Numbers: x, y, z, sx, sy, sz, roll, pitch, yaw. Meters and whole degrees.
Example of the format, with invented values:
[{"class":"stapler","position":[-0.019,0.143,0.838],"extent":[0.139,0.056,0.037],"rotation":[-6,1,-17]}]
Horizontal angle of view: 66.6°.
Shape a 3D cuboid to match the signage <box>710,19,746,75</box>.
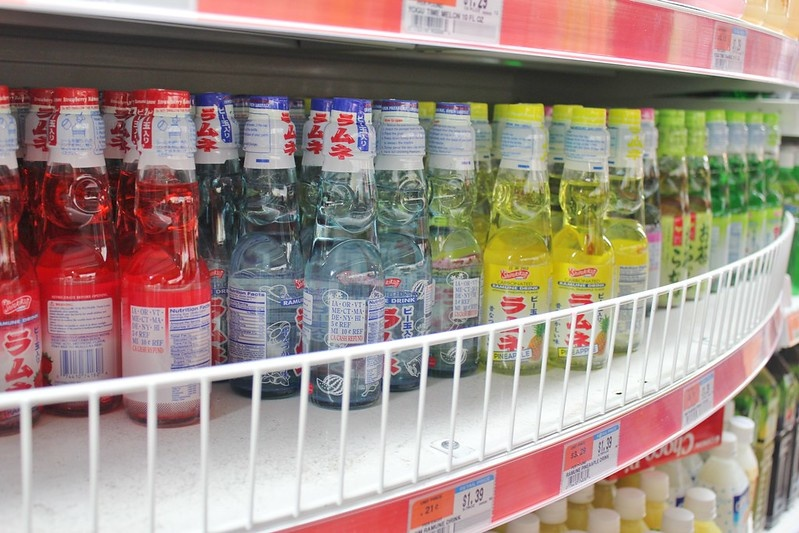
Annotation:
[{"class":"signage","position":[0.651,-0.432,1.200],"extent":[0.008,0.093,0.147],"rotation":[19,28,39]}]
